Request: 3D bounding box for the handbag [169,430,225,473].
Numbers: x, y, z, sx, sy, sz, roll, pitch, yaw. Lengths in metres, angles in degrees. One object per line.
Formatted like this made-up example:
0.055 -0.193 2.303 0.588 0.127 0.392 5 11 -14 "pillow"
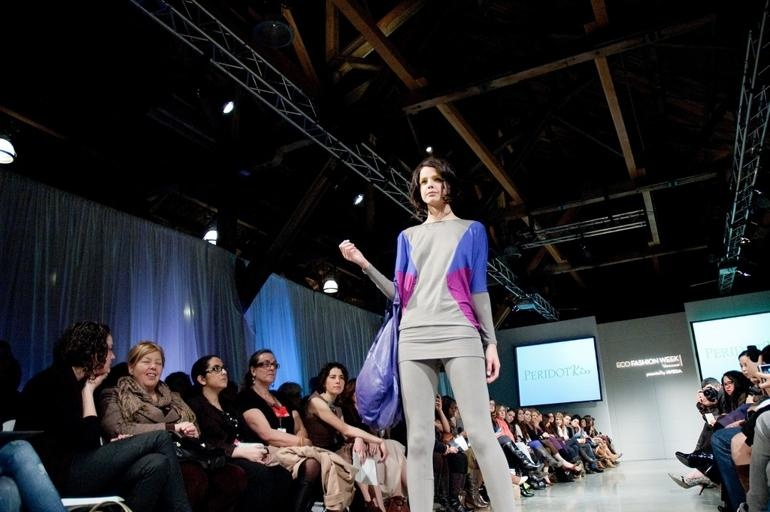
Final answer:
-1.454 1.540 3.764 0.341 0.140 0.279 9 -13 -16 "handbag"
